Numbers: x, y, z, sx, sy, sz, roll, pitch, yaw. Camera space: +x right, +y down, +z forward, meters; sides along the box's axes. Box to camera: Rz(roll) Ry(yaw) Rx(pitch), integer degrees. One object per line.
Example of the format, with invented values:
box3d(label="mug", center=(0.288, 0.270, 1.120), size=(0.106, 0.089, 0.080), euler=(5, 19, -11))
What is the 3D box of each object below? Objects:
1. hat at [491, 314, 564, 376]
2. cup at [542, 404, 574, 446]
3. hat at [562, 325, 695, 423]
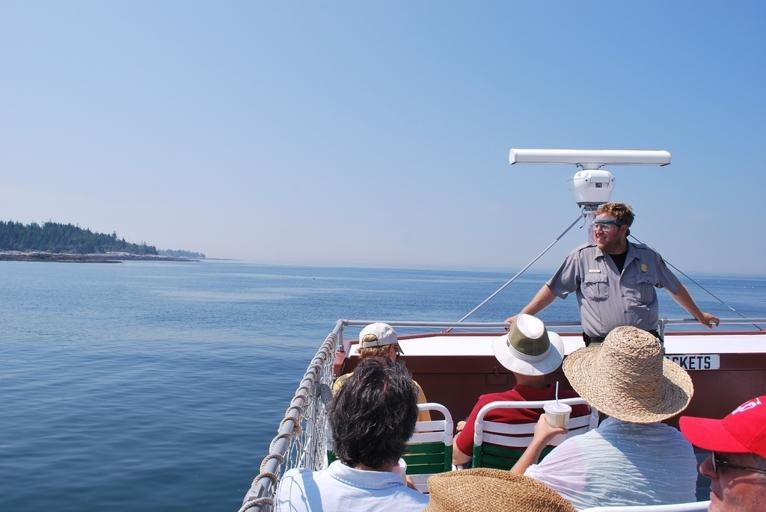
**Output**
box3d(label="hat", center=(1.455, 0.873, 7.359), size=(0.696, 0.246, 0.661), euler=(-7, 40, 2))
box3d(label="cup", center=(1.591, 1.520, 6.677), size=(0.426, 0.323, 0.389), euler=(0, 6, 0))
box3d(label="hat", center=(2.061, 1.040, 6.292), size=(1.100, 0.384, 0.959), euler=(-16, 33, -19))
